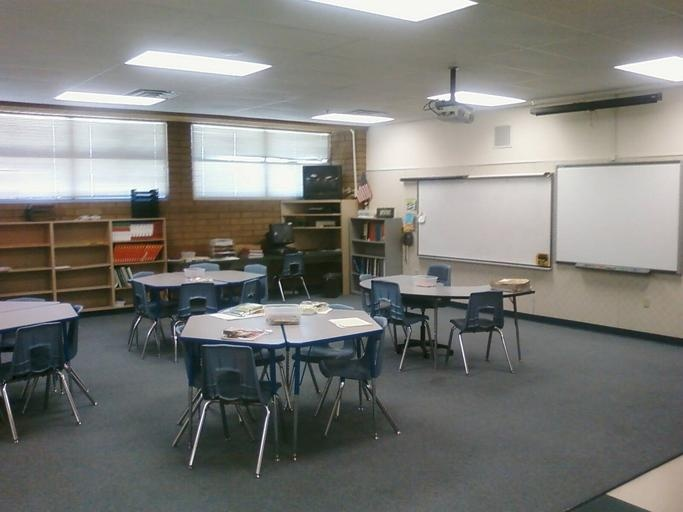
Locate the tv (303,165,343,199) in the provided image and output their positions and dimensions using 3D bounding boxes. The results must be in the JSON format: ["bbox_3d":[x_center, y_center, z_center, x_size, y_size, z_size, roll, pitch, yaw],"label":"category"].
[{"bbox_3d":[-0.408,-1.515,10.796,0.682,0.580,0.223,-1,2,-16],"label":"tv"}]

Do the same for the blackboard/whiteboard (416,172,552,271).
[{"bbox_3d":[2.494,-0.596,8.953,0.072,1.102,1.774,-5,6,-43],"label":"blackboard/whiteboard"}]

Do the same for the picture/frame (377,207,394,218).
[{"bbox_3d":[0.873,-0.841,10.409,0.232,0.149,0.031,-1,-8,39],"label":"picture/frame"}]

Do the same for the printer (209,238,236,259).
[{"bbox_3d":[-2.192,-0.200,10.041,0.558,0.518,0.321,-1,5,-32],"label":"printer"}]

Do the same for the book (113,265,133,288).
[{"bbox_3d":[-3.711,0.356,8.968,0.202,0.346,0.362,-4,0,1],"label":"book"}]

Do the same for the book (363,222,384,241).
[{"bbox_3d":[0.640,-0.487,10.492,0.181,0.387,0.558,-9,13,-37],"label":"book"}]

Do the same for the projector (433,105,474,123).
[{"bbox_3d":[1.476,-1.827,6.855,0.426,0.197,0.450,1,10,8],"label":"projector"}]

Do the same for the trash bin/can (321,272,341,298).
[{"bbox_3d":[-0.180,0.593,10.664,0.424,0.430,0.431,2,-1,-32],"label":"trash bin/can"}]

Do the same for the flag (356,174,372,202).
[{"bbox_3d":[0.468,-1.381,10.947,0.317,0.560,0.445,0,11,3],"label":"flag"}]

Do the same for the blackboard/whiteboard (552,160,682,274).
[{"bbox_3d":[3.952,-0.566,7.442,0.172,1.515,1.594,-6,8,-42],"label":"blackboard/whiteboard"}]
